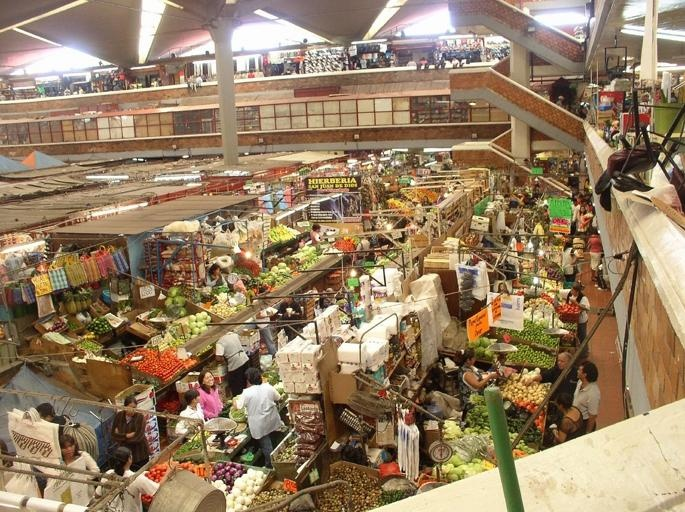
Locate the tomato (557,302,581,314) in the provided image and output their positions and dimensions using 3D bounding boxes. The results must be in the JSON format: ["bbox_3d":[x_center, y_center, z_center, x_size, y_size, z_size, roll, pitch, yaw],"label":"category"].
[{"bbox_3d":[4.065,0.945,9.005,0.225,0.073,0.225,-4,10,-24],"label":"tomato"}]

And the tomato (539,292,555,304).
[{"bbox_3d":[4.061,0.825,9.886,0.199,0.086,0.269,5,16,3],"label":"tomato"}]

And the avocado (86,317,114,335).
[{"bbox_3d":[-3.951,1.160,8.259,0.288,0.144,0.309,12,17,1],"label":"avocado"}]

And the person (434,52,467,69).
[{"bbox_3d":[6.620,-12.095,30.474,2.026,1.070,1.348,3,17,34],"label":"person"}]

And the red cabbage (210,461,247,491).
[{"bbox_3d":[-1.352,2.572,5.898,0.317,0.100,0.343,7,19,20],"label":"red cabbage"}]

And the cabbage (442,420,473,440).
[{"bbox_3d":[1.401,2.186,6.232,0.363,0.186,0.335,-5,2,45],"label":"cabbage"}]

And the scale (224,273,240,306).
[{"bbox_3d":[-2.110,0.664,9.629,0.229,0.281,0.640,28,20,-35],"label":"scale"}]

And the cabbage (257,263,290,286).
[{"bbox_3d":[-1.448,0.390,10.915,0.400,0.195,0.539,-23,8,-11],"label":"cabbage"}]

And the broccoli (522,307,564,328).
[{"bbox_3d":[3.576,1.092,8.830,0.509,0.199,0.502,0,13,1],"label":"broccoli"}]

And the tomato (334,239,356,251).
[{"bbox_3d":[0.101,-0.276,12.044,0.293,0.161,0.377,-5,7,-33],"label":"tomato"}]

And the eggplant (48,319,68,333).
[{"bbox_3d":[-4.542,1.120,8.006,0.206,0.052,0.220,3,45,-15],"label":"eggplant"}]

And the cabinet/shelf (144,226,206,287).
[{"bbox_3d":[-2.920,0.062,9.060,0.849,0.852,0.704,4,7,14],"label":"cabinet/shelf"}]

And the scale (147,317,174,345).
[{"bbox_3d":[-3.016,1.262,8.411,0.381,0.331,0.619,-11,15,-18],"label":"scale"}]

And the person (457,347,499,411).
[{"bbox_3d":[1.897,1.683,7.134,0.526,0.598,1.035,3,17,33],"label":"person"}]

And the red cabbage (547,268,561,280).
[{"bbox_3d":[4.479,0.374,10.530,0.177,0.062,0.190,-9,25,3],"label":"red cabbage"}]

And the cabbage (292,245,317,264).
[{"bbox_3d":[-0.895,-0.044,12.110,0.312,0.188,0.566,28,23,9],"label":"cabbage"}]

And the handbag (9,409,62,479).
[{"bbox_3d":[-2.884,1.719,4.706,0.783,0.499,0.201,5,19,39],"label":"handbag"}]

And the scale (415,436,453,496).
[{"bbox_3d":[0.923,2.155,5.029,0.361,0.672,0.675,-4,14,10],"label":"scale"}]
